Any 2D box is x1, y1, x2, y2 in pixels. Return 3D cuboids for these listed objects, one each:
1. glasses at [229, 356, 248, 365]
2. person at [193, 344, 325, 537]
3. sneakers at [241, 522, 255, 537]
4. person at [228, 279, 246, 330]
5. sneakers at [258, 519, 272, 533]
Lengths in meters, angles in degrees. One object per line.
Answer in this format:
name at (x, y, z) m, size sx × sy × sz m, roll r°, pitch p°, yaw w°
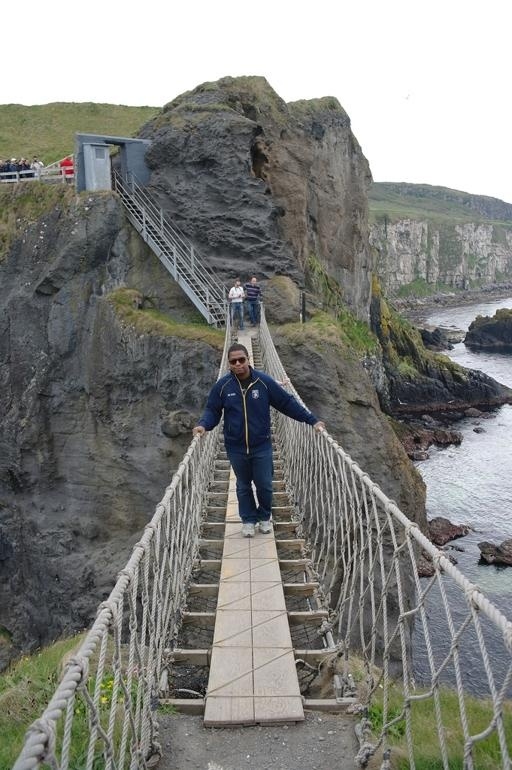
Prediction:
glasses at (-0.125, -0.163, 4.136) m, size 0.105 × 0.056 × 0.060 m, roll 1°, pitch 10°, yaw -1°
person at (-0.040, 0.400, 4.387) m, size 0.823 × 1.423 × 0.260 m, roll -4°, pitch 11°, yaw -27°
sneakers at (-0.060, 1.048, 4.517) m, size 0.075 × 0.081 × 0.186 m, roll 0°, pitch -7°, yaw 2°
person at (-0.495, -1.975, 15.349) m, size 0.356 × 1.179 × 1.133 m, roll 0°, pitch 10°, yaw -2°
sneakers at (0.059, 1.035, 4.574) m, size 0.074 × 0.070 × 0.160 m, roll -2°, pitch -11°, yaw -1°
